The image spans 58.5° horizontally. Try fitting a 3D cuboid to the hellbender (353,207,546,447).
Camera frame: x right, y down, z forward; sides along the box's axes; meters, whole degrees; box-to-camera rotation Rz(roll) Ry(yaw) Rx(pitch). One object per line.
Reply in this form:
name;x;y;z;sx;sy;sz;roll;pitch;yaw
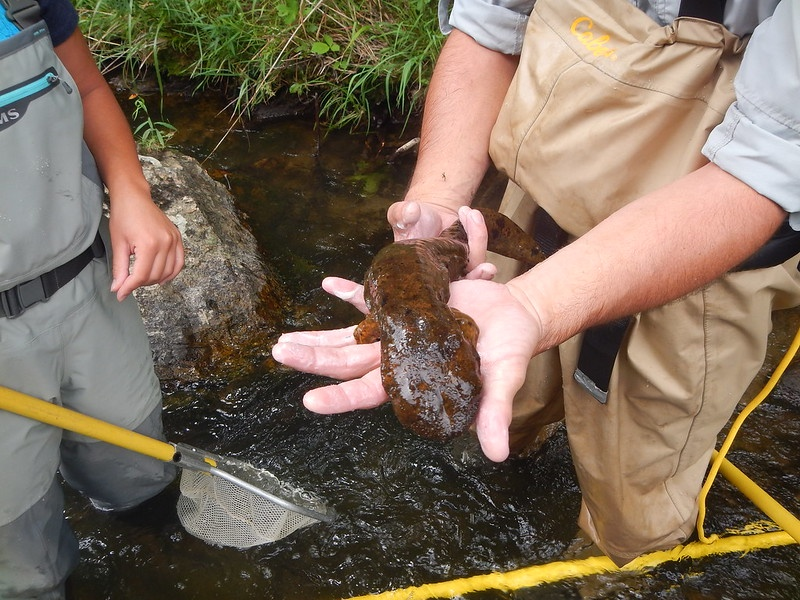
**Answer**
hellbender;0.127;0.149;3.067;0.685;0.260;0.852;-4;62;5
